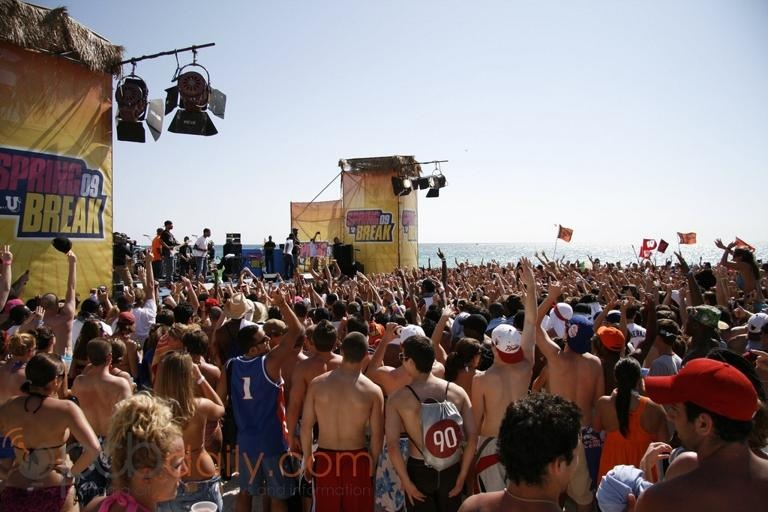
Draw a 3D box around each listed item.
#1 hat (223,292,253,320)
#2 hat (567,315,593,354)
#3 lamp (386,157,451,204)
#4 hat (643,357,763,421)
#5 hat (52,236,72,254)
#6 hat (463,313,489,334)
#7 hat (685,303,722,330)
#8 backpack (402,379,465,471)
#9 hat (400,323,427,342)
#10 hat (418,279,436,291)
[{"bbox_3d":[-1.923,0.685,7.405,0.305,0.356,0.134,-7,-40,-2],"label":"hat"},{"bbox_3d":[2.175,0.879,6.176,0.245,0.450,0.159,-2,-10,2],"label":"hat"},{"bbox_3d":[1.618,-3.314,23.807,2.161,1.603,1.549,-2,5,8],"label":"lamp"},{"bbox_3d":[2.380,0.984,4.140,0.629,0.356,0.438,8,6,27],"label":"hat"},{"bbox_3d":[-5.135,-0.177,8.834,0.242,0.209,0.194,-34,46,-10],"label":"hat"},{"bbox_3d":[1.158,0.864,7.087,0.207,0.191,0.280,-10,17,-43],"label":"hat"},{"bbox_3d":[3.728,0.693,6.571,0.259,0.241,0.387,12,17,-10],"label":"hat"},{"bbox_3d":[0.561,1.675,5.578,0.416,0.736,0.698,-5,9,-15],"label":"backpack"},{"bbox_3d":[0.297,0.872,6.362,0.269,0.235,0.482,5,-13,-3],"label":"hat"},{"bbox_3d":[0.767,0.515,9.668,0.168,0.241,0.218,3,7,-19],"label":"hat"}]
